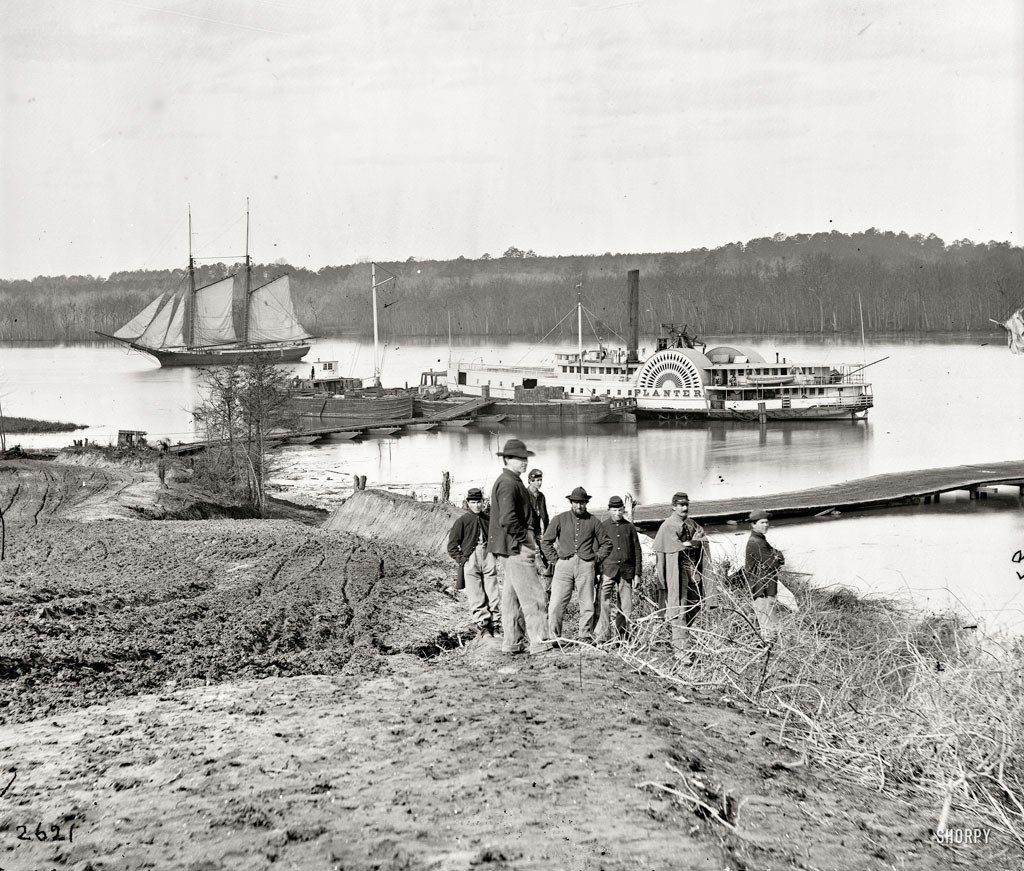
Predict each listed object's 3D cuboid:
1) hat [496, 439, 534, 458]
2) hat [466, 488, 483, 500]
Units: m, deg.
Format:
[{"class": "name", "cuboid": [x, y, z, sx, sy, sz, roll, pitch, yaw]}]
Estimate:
[{"class": "hat", "cuboid": [0.022, 0.119, 11.494, 0.211, 0.154, 0.597, 0, 0, 1]}, {"class": "hat", "cuboid": [-0.355, 0.549, 12.838, 0.087, 0.108, 0.125, 1, -5, -3]}]
